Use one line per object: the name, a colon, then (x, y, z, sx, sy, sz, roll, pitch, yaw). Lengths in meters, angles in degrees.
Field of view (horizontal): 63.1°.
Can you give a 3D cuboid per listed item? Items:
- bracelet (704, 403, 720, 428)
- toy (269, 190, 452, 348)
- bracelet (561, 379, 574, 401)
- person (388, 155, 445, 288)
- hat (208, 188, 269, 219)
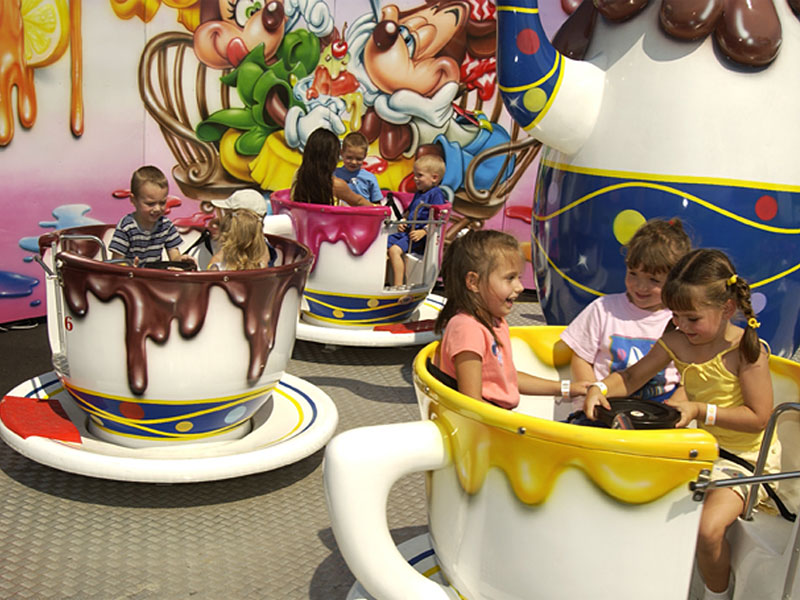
bracelet: (0.701, 0.258, 1.469, 0.040, 0.030, 0.040, -22, 26, -33)
toy: (-0.163, -0.153, 3.525, 0.899, 0.769, 0.924, 7, 13, 26)
bracelet: (0.415, 0.222, 1.630, 0.026, 0.043, 0.043, 2, 12, 13)
person: (0.068, -0.454, 3.888, 0.404, 0.777, 0.338, -2, 18, -13)
hat: (-0.598, -0.380, 2.513, 0.231, 0.110, 0.171, 7, 7, -9)
